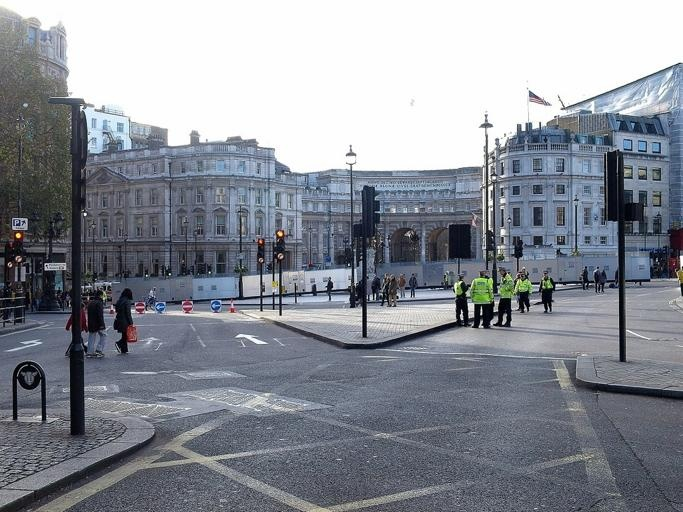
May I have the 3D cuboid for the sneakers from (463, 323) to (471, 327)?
[{"bbox_3d":[4.432,2.451,29.972,0.306,0.144,0.104,-5,-4,-7],"label":"sneakers"}]

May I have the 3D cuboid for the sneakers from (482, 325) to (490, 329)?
[{"bbox_3d":[4.916,2.399,28.927,0.205,0.101,0.441,-2,1,7],"label":"sneakers"}]

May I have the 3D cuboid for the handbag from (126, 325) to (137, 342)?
[{"bbox_3d":[-5.764,2.119,23.219,0.270,0.392,0.512,-3,1,-21],"label":"handbag"}]

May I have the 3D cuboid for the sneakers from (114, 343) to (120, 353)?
[{"bbox_3d":[-6.343,2.612,23.964,0.104,0.312,0.119,-21,2,-1],"label":"sneakers"}]

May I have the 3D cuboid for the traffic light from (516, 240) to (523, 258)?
[{"bbox_3d":[11.958,-0.565,57.571,0.347,1.140,1.367,-2,1,23],"label":"traffic light"}]

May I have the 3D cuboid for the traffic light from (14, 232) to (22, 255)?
[{"bbox_3d":[-14.699,-0.574,38.370,0.402,0.953,0.770,-3,1,-24],"label":"traffic light"}]

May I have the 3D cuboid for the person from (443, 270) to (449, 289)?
[{"bbox_3d":[8.921,2.039,72.667,0.432,1.493,2.067,-2,1,7],"label":"person"}]
